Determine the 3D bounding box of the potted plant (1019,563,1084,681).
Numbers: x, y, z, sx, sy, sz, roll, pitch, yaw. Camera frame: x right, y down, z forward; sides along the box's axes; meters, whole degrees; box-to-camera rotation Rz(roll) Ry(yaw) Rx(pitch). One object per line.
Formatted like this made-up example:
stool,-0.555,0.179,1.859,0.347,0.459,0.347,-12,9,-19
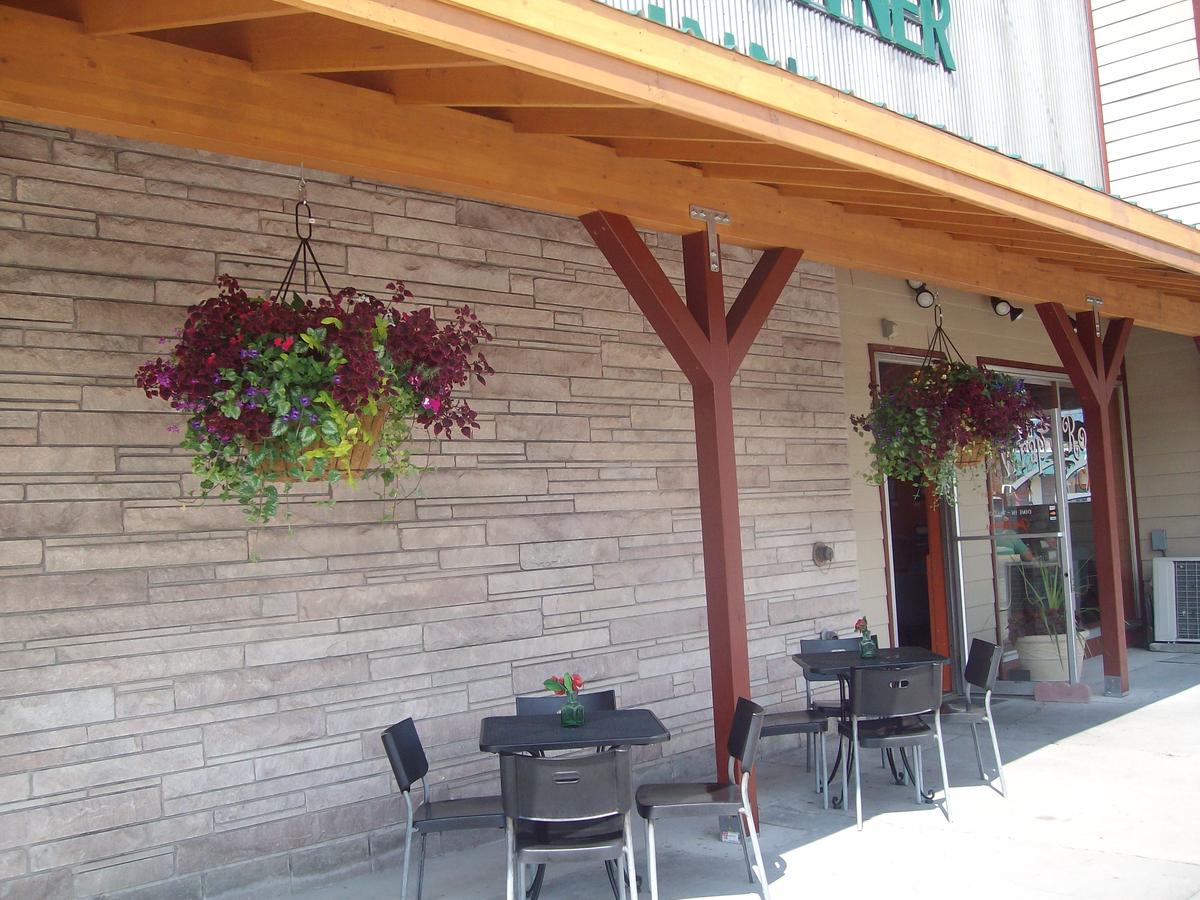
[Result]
potted plant,4.110,1.488,8.167,0.520,0.794,0.203,-8,-5,20

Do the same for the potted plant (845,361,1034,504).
potted plant,2.752,-0.228,7.357,1.132,1.022,1.220,-3,-9,25

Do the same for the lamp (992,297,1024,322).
lamp,4.307,-1.410,9.292,0.233,0.175,0.424,-9,-6,40

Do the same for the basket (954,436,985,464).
basket,2.902,0.003,6.910,0.212,0.138,0.232,-2,-7,32

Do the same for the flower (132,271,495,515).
flower,-1.177,-0.194,3.774,0.875,0.443,0.833,17,33,28
